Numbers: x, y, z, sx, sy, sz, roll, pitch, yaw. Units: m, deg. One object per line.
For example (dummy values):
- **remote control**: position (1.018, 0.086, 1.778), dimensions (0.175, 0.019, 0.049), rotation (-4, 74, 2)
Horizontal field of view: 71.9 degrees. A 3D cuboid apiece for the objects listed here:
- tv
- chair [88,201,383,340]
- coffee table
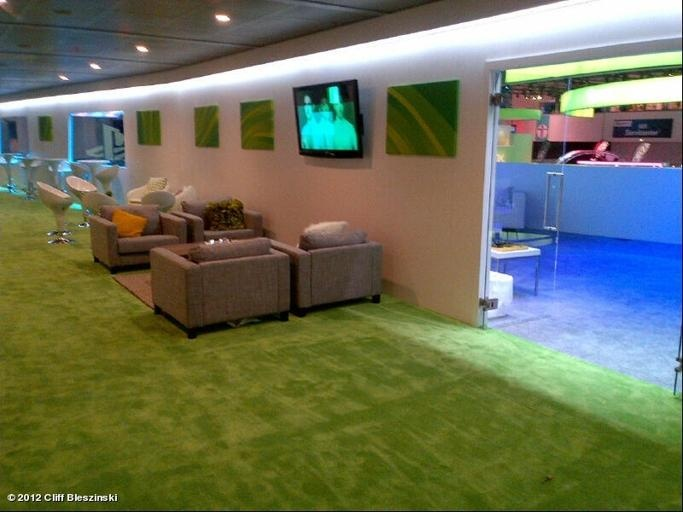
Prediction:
- **tv**: position (-0.172, -1.978, 6.728), dimensions (0.156, 0.998, 1.437), rotation (-27, 23, -31)
- **chair**: position (-1.772, -0.080, 6.900), dimensions (2.570, 1.273, 4.272), rotation (-8, 11, -38)
- **coffee table**: position (2.325, 0.071, 6.016), dimensions (0.628, 0.701, 0.801), rotation (-5, 13, -26)
